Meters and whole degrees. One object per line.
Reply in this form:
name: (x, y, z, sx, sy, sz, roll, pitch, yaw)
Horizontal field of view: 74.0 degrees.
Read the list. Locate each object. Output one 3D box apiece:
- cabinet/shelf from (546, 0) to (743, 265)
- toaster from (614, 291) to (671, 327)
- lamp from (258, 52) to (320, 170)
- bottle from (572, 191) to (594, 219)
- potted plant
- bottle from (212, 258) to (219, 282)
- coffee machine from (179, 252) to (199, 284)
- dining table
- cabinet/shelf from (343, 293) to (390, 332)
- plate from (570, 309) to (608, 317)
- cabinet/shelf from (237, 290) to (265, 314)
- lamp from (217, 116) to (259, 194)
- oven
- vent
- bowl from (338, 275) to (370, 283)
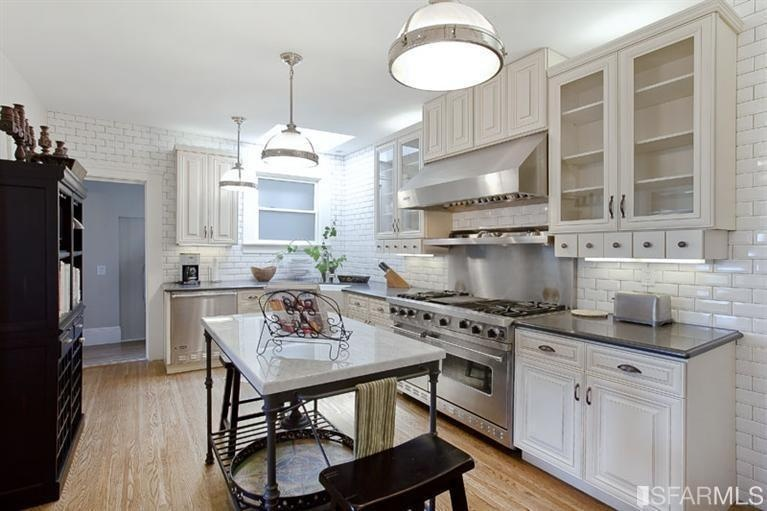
cabinet/shelf: (2.075, -0.948, 4.239, 0.431, 1.943, 1.268, -4, 4, -44)
toaster: (2.176, 0.432, 4.278, 0.272, 0.223, 0.391, -4, 5, -40)
lamp: (-0.919, -1.354, 4.862, 0.472, 1.152, 1.325, -2, 3, -11)
bottle: (1.739, -0.429, 4.427, 0.056, 0.201, 0.225, 5, -5, -31)
potted plant: (-1.001, -0.059, 7.621, 1.115, 0.882, 0.772, -2, 3, -27)
bottle: (-2.346, 0.199, 7.076, 0.105, 0.305, 0.227, -2, 3, -15)
coffee machine: (-2.555, 0.179, 6.736, 0.229, 0.397, 0.177, -3, 3, -29)
dining table: (-0.521, 0.741, 3.907, 1.268, 1.226, 2.015, -2, 3, -28)
cabinet/shelf: (-0.115, 0.704, 6.149, 0.545, 0.468, 0.199, 1, 18, 24)
plate: (1.817, 0.513, 4.482, 0.310, 0.049, 0.178, 0, 2, 21)
cabinet/shelf: (-1.656, 0.584, 6.303, 0.398, 0.353, 0.270, 1, -3, -18)
lamp: (-1.926, -1.287, 6.654, 0.433, 0.882, 0.958, -2, 3, -17)
oven: (0.714, 0.938, 4.968, 0.908, 1.243, 1.727, 3, -2, -28)
vent: (0.841, -0.821, 5.188, 0.476, 0.580, 1.682, -2, 0, -37)
bowl: (-0.439, 0.342, 7.187, 0.439, 0.103, 0.343, -1, 2, -4)
